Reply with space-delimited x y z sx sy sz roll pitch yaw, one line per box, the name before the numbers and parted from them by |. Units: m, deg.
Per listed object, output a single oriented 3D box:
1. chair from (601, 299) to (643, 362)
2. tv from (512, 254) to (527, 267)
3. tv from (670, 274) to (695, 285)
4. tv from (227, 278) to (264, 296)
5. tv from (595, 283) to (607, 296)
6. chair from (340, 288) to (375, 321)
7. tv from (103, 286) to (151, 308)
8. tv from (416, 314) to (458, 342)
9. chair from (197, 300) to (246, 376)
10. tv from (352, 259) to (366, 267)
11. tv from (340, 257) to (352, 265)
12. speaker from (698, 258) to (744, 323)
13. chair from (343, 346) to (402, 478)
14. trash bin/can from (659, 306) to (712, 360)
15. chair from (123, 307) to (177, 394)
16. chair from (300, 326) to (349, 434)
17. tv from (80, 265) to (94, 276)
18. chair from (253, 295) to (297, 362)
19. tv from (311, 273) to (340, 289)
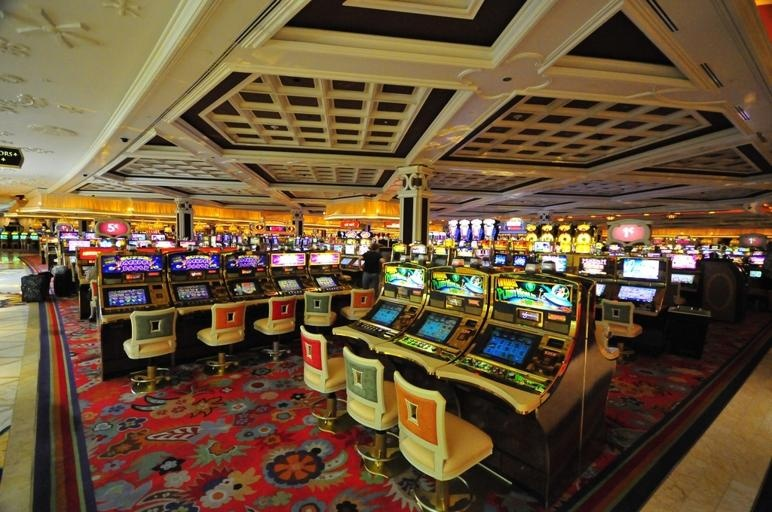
chair | 4.500 1.412 8.562 0.680 1.159 1.054 4 5 23
tv | 3.726 0.114 12.283 0.367 0.256 1.175 2 4 15
tv | 7.365 0.585 10.986 0.561 0.235 0.056 1 5 39
tv | -2.732 0.636 8.692 0.590 0.283 0.314 -1 5 -29
tv | 4.594 0.720 9.440 0.183 0.279 0.302 4 5 26
chair | -0.540 0.985 8.967 0.599 0.626 0.392 1 4 -5
tv | -4.450 0.712 7.666 0.862 0.280 0.481 0 10 -24
tv | 0.774 1.042 6.490 0.547 0.399 0.106 12 -35 34
chair | -2.941 1.420 7.912 0.715 1.236 0.692 0 5 -26
tv | -0.833 0.243 13.720 0.376 0.246 0.072 6 -22 28
tv | -1.214 0.180 13.813 0.320 0.216 0.063 15 -21 27
speaker | 8.088 0.844 11.387 1.200 1.461 1.092 10 -6 -17
chair | -0.106 2.079 6.105 0.746 1.723 0.696 4 5 30
trash bin/can | 5.812 1.488 8.613 0.711 0.952 0.566 4 5 28
chair | -3.919 1.536 7.424 0.751 1.346 0.700 0 5 -24
chair | -0.928 1.800 6.740 0.680 1.523 0.896 1 4 -4
tv | -6.466 0.329 9.645 0.370 0.176 0.232 8 -2 35
chair | -2.081 1.335 8.378 0.720 1.198 0.819 1 4 -14
tv | -1.234 0.570 9.618 0.569 0.265 0.467 -1 4 -25
